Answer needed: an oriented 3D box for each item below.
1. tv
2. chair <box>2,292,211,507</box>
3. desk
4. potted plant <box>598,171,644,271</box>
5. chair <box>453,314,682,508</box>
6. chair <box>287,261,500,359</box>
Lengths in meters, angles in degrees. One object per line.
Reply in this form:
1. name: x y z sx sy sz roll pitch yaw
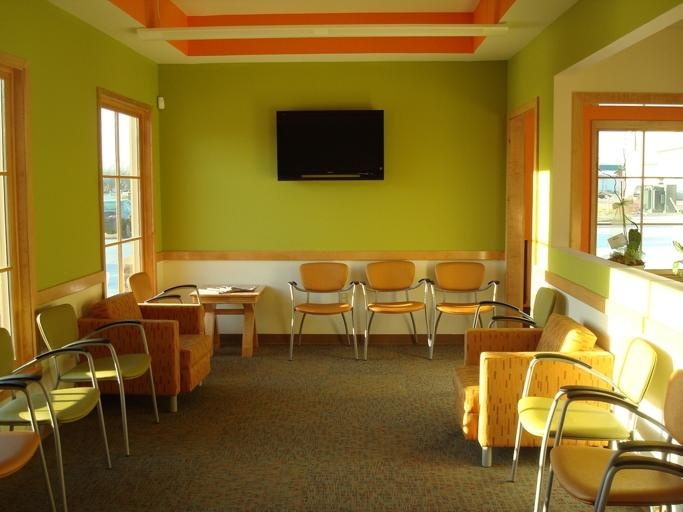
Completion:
1. tv: -0.125 -1.335 6.539 1.192 0.882 0.285 -1 3 2
2. chair: -1.883 1.199 4.947 1.044 1.199 1.396 -2 3 2
3. desk: -1.324 0.761 6.541 0.744 0.785 0.783 0 0 0
4. potted plant: 2.672 -0.272 5.165 0.386 0.847 0.415 -9 5 35
5. chair: 1.445 1.067 4.134 1.000 1.016 1.134 1 -2 5
6. chair: 0.611 0.671 6.501 2.366 1.238 0.813 0 2 3
